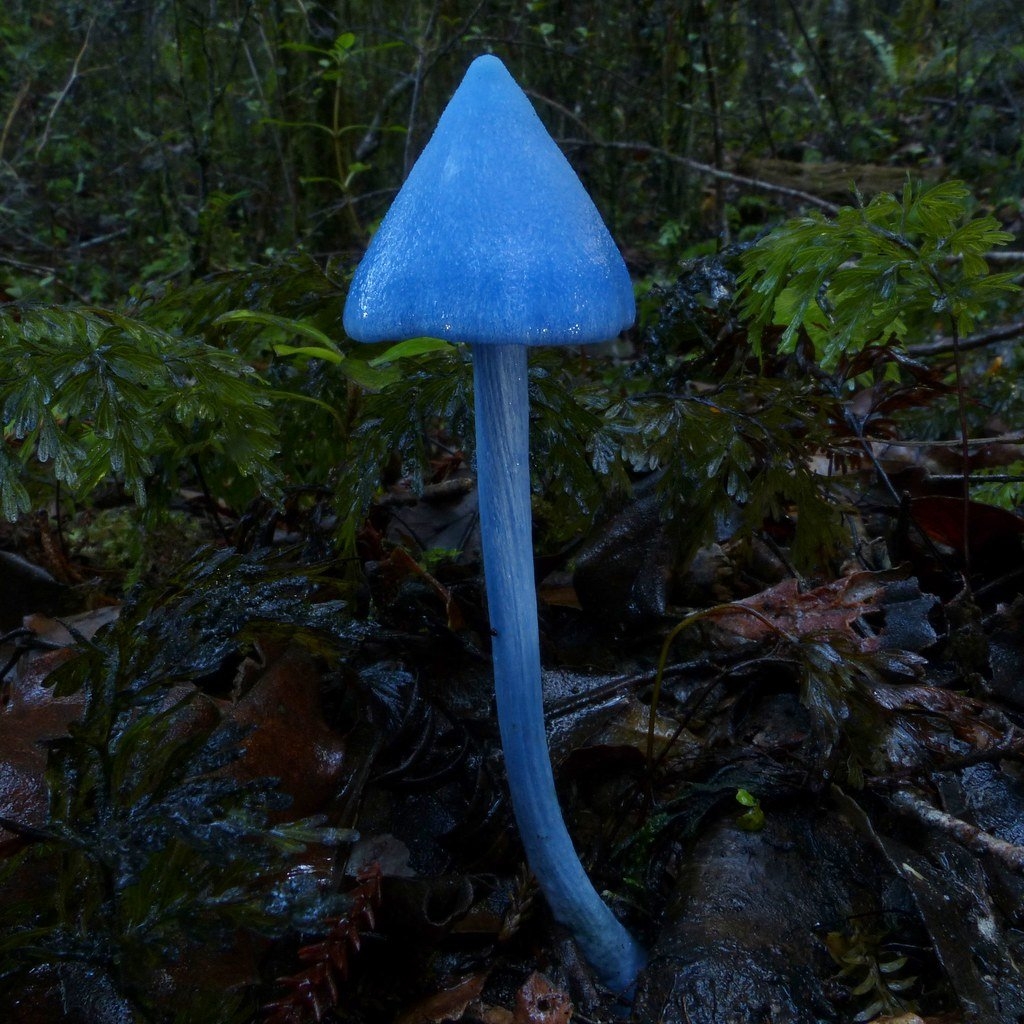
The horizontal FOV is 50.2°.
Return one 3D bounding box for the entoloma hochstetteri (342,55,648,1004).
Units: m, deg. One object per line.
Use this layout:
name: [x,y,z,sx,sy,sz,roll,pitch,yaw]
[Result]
entoloma hochstetteri: [-0.019,0.093,2.140,0.537,1.873,0.279,-2,15,5]
